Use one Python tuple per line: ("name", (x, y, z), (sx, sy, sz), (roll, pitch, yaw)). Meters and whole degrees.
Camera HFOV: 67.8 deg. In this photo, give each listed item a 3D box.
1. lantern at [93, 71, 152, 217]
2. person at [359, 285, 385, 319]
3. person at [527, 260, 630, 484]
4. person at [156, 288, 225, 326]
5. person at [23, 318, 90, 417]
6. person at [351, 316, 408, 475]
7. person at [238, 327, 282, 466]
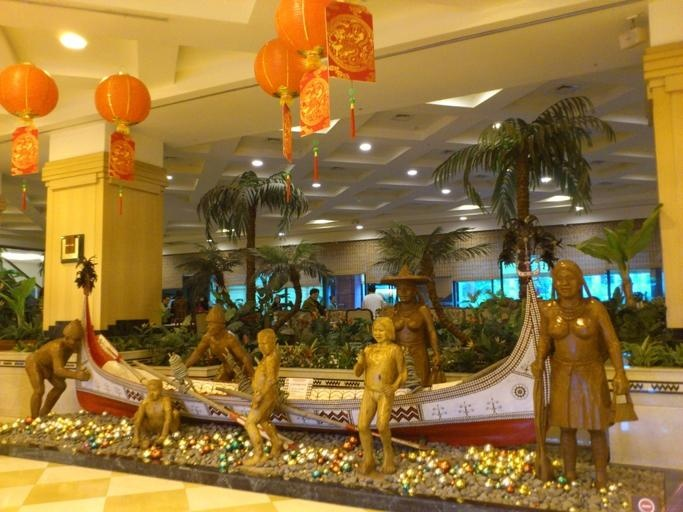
("lantern", (-2.575, -1.287, 6.133), (0.549, 1.546, 1.495), (-8, 10, -23))
("person", (0.803, 1.277, 12.747), (0.543, 1.190, 0.460), (-1, 19, 7))
("person", (1.815, 0.905, 3.941), (0.761, 1.756, 0.650), (-5, 9, -1))
("person", (-2.923, 0.976, 9.840), (0.928, 0.347, 0.911), (-3, -4, 19))
("person", (-3.174, 1.289, 5.710), (0.872, 1.135, 0.326), (-3, 9, 10))
("person", (0.326, 1.124, 4.146), (0.415, 1.194, 0.500), (-4, 9, 1))
("person", (-0.704, 1.185, 4.446), (0.380, 1.085, 0.615), (-6, 9, -8))
